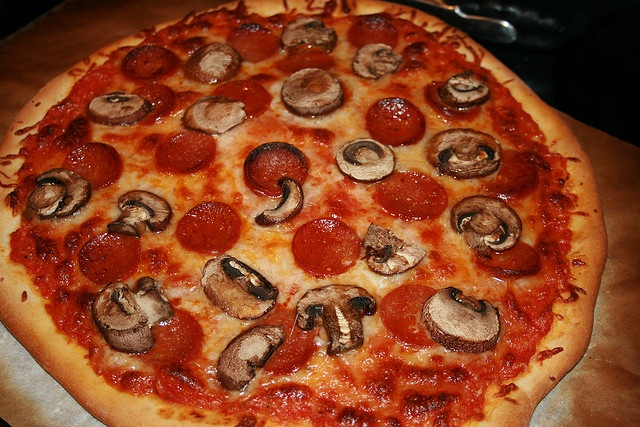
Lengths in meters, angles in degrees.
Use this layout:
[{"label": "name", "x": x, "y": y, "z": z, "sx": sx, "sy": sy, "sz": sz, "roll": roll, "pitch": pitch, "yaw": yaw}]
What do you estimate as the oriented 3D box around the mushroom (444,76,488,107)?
[{"label": "mushroom", "x": 1.496, "y": -1.293, "z": 7.240, "sx": 0.391, "sy": 0.097, "sz": 0.350, "roll": 5, "pitch": 59, "yaw": 10}]
